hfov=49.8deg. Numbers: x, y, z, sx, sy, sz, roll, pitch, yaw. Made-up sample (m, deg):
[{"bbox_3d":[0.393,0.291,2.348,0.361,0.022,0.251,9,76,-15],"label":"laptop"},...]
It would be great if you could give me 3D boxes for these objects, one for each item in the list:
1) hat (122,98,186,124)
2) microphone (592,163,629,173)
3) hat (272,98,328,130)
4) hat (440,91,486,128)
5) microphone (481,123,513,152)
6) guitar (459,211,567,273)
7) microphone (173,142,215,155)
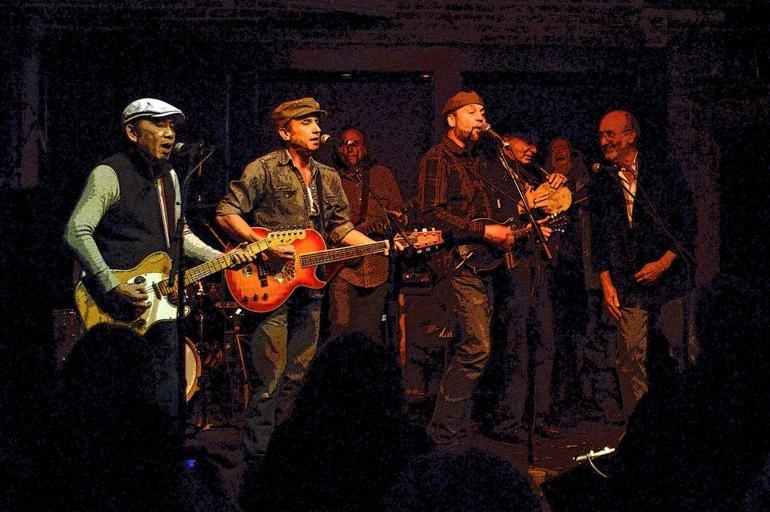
[{"bbox_3d":[-1.679,-1.040,5.941,0.305,0.120,0.251,-4,6,-9],"label":"hat"},{"bbox_3d":[1.749,-0.685,6.417,0.086,0.092,0.303,-9,9,-44],"label":"microphone"},{"bbox_3d":[-0.664,-1.086,6.243,0.304,0.116,0.243,-13,-4,26],"label":"hat"},{"bbox_3d":[0.572,-1.212,6.625,0.242,0.125,0.325,-3,-15,-46],"label":"hat"},{"bbox_3d":[0.845,-0.905,6.335,0.219,0.162,0.351,4,2,6],"label":"microphone"},{"bbox_3d":[0.978,-0.110,6.463,0.824,0.372,0.304,4,2,6],"label":"guitar"},{"bbox_3d":[-1.353,-0.754,5.858,0.252,0.114,0.479,3,2,-15],"label":"microphone"}]
